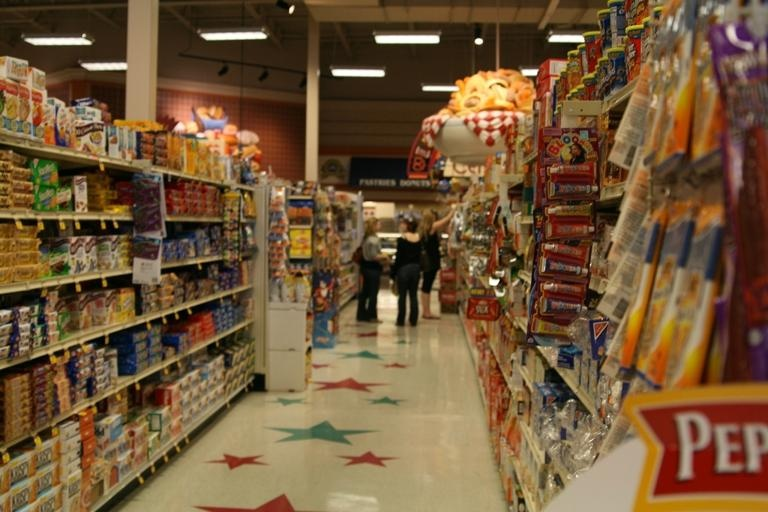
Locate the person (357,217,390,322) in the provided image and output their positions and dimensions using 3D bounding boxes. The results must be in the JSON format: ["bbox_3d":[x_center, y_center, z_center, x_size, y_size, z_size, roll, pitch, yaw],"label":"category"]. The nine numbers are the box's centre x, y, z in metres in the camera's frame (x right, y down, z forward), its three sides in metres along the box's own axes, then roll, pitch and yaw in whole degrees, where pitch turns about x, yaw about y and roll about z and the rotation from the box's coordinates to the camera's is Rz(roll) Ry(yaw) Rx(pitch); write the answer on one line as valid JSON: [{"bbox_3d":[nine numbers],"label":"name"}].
[{"bbox_3d":[-0.198,0.287,9.101,0.429,1.668,1.134,0,4,-3],"label":"person"}]

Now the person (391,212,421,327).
[{"bbox_3d":[0.366,0.261,9.071,0.457,1.696,0.750,1,4,1],"label":"person"}]
